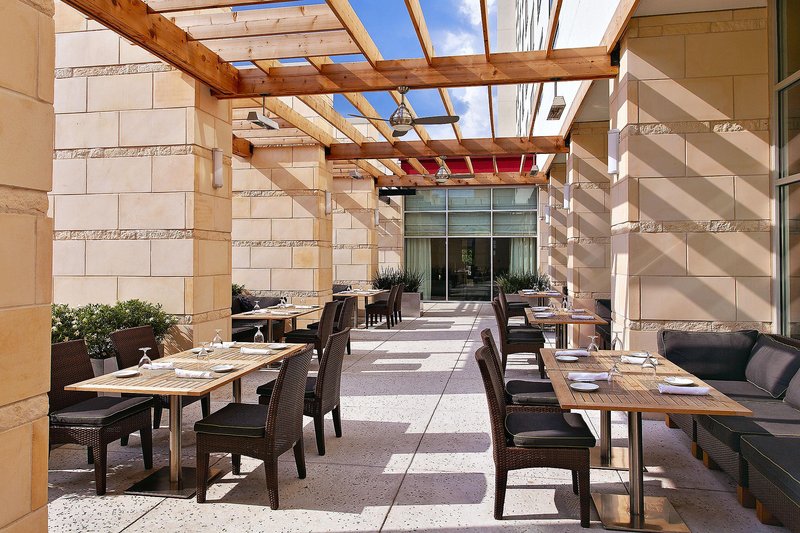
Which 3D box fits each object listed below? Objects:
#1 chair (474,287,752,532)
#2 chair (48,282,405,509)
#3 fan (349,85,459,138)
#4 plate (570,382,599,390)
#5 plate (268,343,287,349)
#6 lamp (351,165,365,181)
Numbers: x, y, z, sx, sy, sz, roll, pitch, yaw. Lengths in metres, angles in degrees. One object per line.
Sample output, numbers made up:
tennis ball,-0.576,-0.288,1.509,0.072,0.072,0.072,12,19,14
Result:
chair,1.693,1.270,5.545,1.941,1.295,1.629,0,9,6
chair,-1.682,1.259,5.845,1.803,1.185,1.441,1,9,9
fan,-0.036,-2.038,8.332,1.266,0.475,1.094,-2,11,-18
plate,1.475,0.951,5.086,0.227,0.044,0.165,-1,8,-3
plate,-1.277,0.817,6.609,0.136,0.021,0.129,0,0,8
lamp,-1.014,-2.260,15.390,0.169,0.281,0.297,-20,29,-11
